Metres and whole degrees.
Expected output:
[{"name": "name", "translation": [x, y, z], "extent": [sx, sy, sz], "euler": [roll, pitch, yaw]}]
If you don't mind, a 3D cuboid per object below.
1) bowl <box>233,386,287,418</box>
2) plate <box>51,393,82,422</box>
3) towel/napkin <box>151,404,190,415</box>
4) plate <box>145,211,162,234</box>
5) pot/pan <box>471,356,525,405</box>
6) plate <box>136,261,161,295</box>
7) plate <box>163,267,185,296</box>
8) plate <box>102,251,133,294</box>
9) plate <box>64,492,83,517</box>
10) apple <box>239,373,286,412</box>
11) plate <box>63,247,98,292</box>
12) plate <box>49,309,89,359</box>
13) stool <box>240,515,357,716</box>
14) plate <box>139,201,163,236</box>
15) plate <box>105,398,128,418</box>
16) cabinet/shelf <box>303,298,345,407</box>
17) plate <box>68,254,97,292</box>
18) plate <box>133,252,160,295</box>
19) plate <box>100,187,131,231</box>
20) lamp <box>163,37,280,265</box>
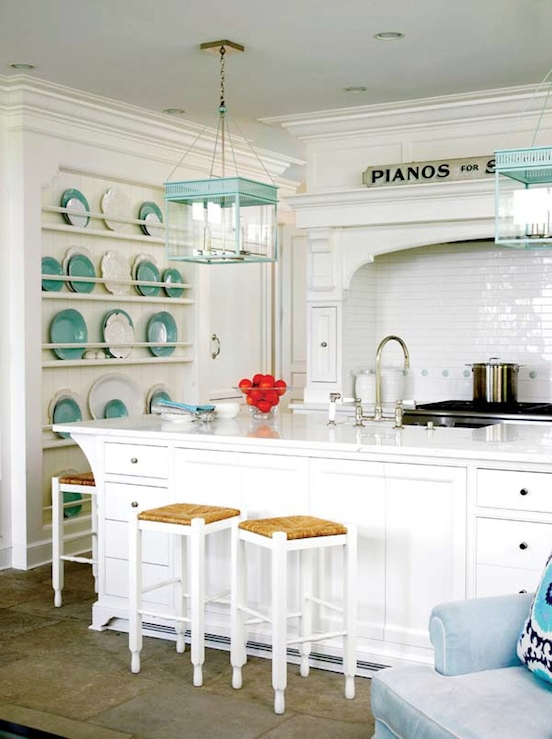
[{"name": "bowl", "translation": [-0.119, 0.190, 4.014], "extent": [0.388, 0.155, 0.376], "euler": [-1, -2, 0]}, {"name": "plate", "translation": [-1.497, 0.280, 4.707], "extent": [0.059, 0.239, 0.237], "euler": [3, -7, 26]}, {"name": "towel/napkin", "translation": [-0.546, 0.200, 3.352], "extent": [0.116, 0.029, 0.083], "euler": [-1, 2, -41]}, {"name": "plate", "translation": [-1.017, -1.213, 5.477], "extent": [0.029, 0.165, 0.164], "euler": [2, 9, 30]}, {"name": "pot/pan", "translation": [1.529, 0.072, 4.572], "extent": [0.324, 0.293, 0.288], "euler": [-1, -1, 24]}, {"name": "plate", "translation": [-1.063, -0.753, 5.439], "extent": [0.038, 0.255, 0.255], "euler": [-5, 7, 30]}, {"name": "plate", "translation": [-0.892, -0.755, 5.701], "extent": [0.049, 0.236, 0.236], "euler": [-7, -13, 37]}, {"name": "plate", "translation": [-1.243, -0.761, 5.151], "extent": [0.048, 0.301, 0.267], "euler": [-10, -8, 33]}, {"name": "plate", "translation": [-1.435, 0.931, 4.711], "extent": [0.194, 0.196, 0.051], "euler": [-8, -9, 39]}, {"name": "apple", "translation": [-0.075, 0.128, 3.526], "extent": [0.246, 0.213, 0.296], "euler": [0, 1, -1]}, {"name": "plate", "translation": [-1.432, -0.724, 4.829], "extent": [0.040, 0.284, 0.295], "euler": [-6, -7, 33]}, {"name": "plate", "translation": [-1.473, -0.255, 4.724], "extent": [0.209, 0.367, 0.457], "euler": [0, 1, 14]}, {"name": "stool", "translation": [0.057, 0.871, 2.555], "extent": [0.473, 0.684, 0.629], "euler": [0, 1, -20]}, {"name": "plate", "translation": [-1.042, -1.251, 5.475], "extent": [0.043, 0.251, 0.270], "euler": [-6, -15, 37]}, {"name": "plate", "translation": [-1.257, 0.307, 5.169], "extent": [0.050, 0.177, 0.182], "euler": [-5, 18, 17]}, {"name": "cabinet/shelf", "translation": [0.343, -0.122, 4.959], "extent": [0.282, 0.751, 0.105], "euler": [1, 1, 29]}, {"name": "plate", "translation": [-1.430, -0.698, 4.835], "extent": [0.036, 0.255, 0.264], "euler": [-4, 2, 29]}, {"name": "plate", "translation": [-1.071, -0.771, 5.430], "extent": [0.038, 0.276, 0.285], "euler": [-6, 0, 33]}, {"name": "plate", "translation": [-1.253, -1.253, 5.147], "extent": [0.044, 0.312, 0.277], "euler": [-9, -8, 37]}, {"name": "lamp", "translation": [-0.277, -1.092, 3.343], "extent": [0.649, 1.026, 0.631], "euler": [-3, 13, -18]}]
